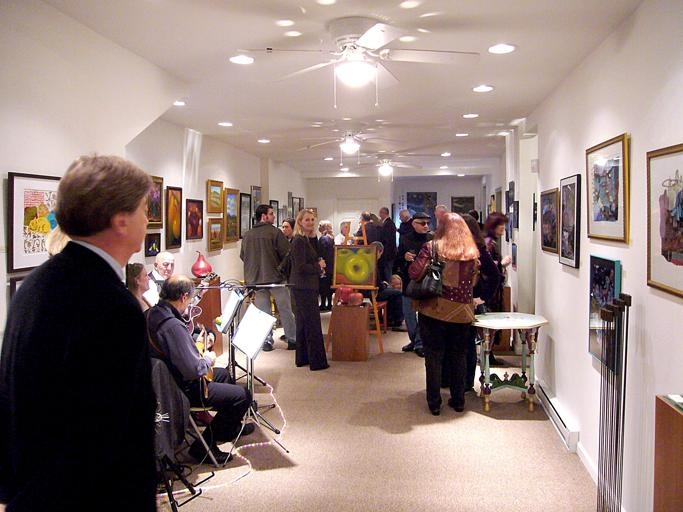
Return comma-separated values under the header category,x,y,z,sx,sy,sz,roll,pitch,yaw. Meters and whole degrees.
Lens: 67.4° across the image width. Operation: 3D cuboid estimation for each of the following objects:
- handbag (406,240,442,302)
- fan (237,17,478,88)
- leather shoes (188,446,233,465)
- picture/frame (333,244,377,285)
category,x,y,z,sx,sy,sz,roll,pitch,yaw
handbag,0.726,0.136,4.480,0.184,0.579,0.528,16,-15,-12
fan,0.097,-1.347,3.259,1.152,0.280,1.087,-19,32,-33
leather shoes,-0.937,1.411,3.693,0.311,0.158,0.124,0,-5,0
picture/frame,0.163,0.113,6.015,0.384,0.418,0.092,1,-7,7
